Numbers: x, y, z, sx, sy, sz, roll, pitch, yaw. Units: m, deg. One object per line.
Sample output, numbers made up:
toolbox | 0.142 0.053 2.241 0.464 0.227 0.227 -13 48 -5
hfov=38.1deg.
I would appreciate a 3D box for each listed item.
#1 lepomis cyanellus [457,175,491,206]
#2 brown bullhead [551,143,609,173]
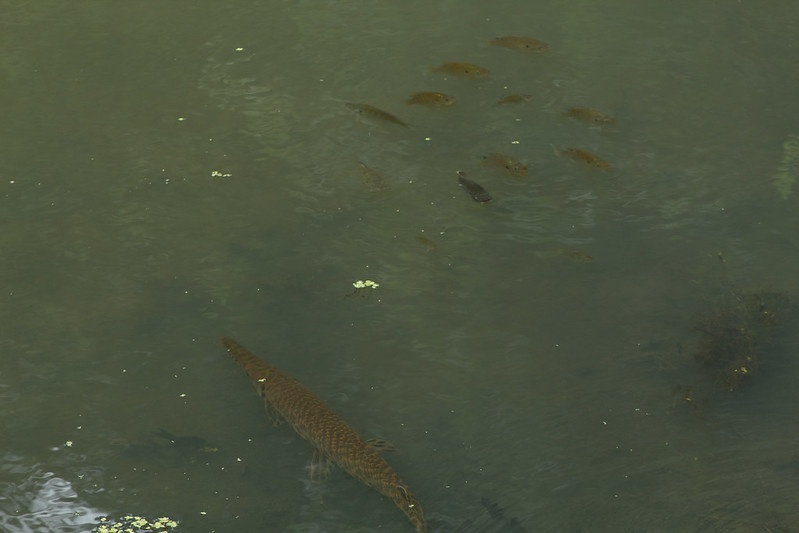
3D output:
lepomis cyanellus | 1.398 -1.513 22.417 0.749 0.139 0.428 39 67 21
brown bullhead | 3.616 -2.173 22.911 1.349 0.376 0.332 16 85 10
